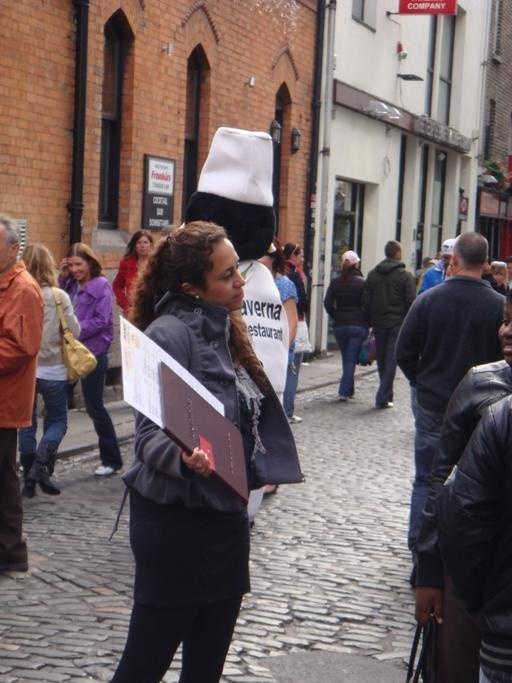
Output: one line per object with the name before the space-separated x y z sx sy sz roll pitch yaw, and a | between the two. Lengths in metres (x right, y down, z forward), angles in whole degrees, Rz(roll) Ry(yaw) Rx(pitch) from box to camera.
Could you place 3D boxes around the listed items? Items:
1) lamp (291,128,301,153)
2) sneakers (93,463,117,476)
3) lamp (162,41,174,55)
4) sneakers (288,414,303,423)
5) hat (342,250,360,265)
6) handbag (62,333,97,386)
lamp | 0.616 -3.212 15.137 0.124 0.395 0.471 3 4 6
sneakers | -1.155 0.990 7.271 0.067 0.084 0.196 -3 -10 28
lamp | -1.025 -3.427 11.031 0.089 0.165 0.158 0 1 -27
sneakers | 0.375 0.820 9.943 0.065 0.089 0.178 0 -4 -37
hat | 1.196 -1.064 12.189 0.209 0.187 0.316 2 14 12
handbag | -1.278 0.132 6.826 0.233 0.368 0.173 -31 -7 16
